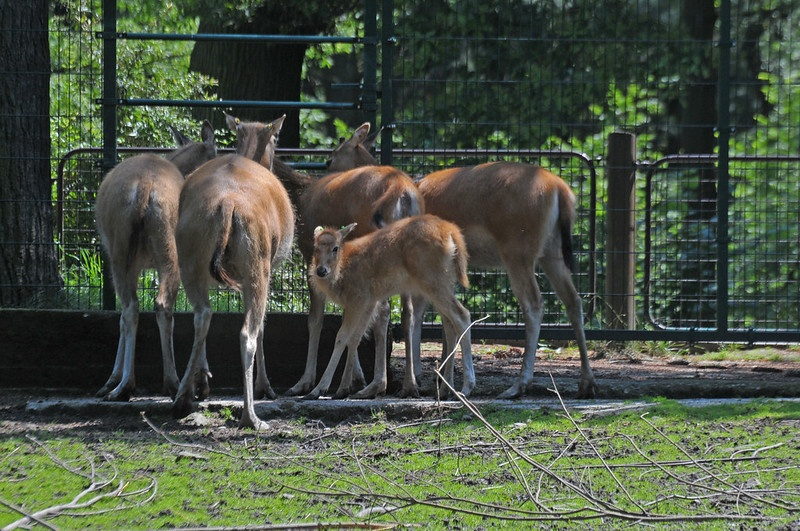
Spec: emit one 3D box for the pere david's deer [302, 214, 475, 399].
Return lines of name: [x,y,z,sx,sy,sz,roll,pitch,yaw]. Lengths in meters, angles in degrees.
pere david's deer: [-0.138,0.444,13.342,2.098,2.056,0.774,-5,-16,26]
